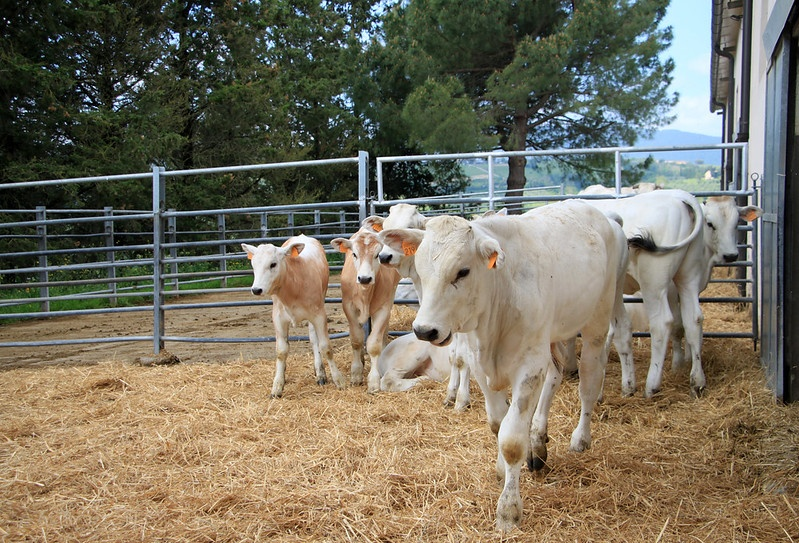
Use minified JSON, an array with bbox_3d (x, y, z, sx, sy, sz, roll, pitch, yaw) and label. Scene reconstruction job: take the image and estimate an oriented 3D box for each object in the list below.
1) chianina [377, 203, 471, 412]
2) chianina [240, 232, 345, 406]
[{"bbox_3d":[0.376,0.623,8.384,0.883,1.508,2.609,-3,-20,11],"label":"chianina"},{"bbox_3d":[-1.367,0.529,9.472,1.138,1.896,1.128,-4,5,-13],"label":"chianina"}]
